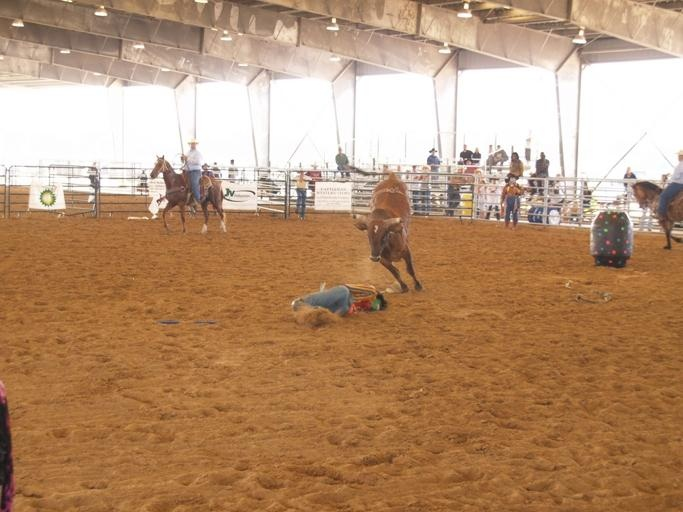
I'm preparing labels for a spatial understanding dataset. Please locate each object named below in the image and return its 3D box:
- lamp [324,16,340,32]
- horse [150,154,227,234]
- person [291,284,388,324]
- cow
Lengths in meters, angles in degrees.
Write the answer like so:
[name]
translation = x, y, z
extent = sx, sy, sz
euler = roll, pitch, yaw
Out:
[lamp]
translation = -0.292, -7.933, 26.746
extent = 0.474, 0.491, 0.113
euler = 7, -1, -30
[horse]
translation = -3.772, -1.464, 19.525
extent = 2.163, 1.667, 0.620
euler = 6, -1, -40
[person]
translation = -0.002, 0.687, 11.589
extent = 1.133, 0.681, 0.575
euler = -4, -5, -19
[cow]
translation = 0.817, -0.343, 12.693
extent = 1.020, 1.873, 1.382
euler = 2, 10, 7
